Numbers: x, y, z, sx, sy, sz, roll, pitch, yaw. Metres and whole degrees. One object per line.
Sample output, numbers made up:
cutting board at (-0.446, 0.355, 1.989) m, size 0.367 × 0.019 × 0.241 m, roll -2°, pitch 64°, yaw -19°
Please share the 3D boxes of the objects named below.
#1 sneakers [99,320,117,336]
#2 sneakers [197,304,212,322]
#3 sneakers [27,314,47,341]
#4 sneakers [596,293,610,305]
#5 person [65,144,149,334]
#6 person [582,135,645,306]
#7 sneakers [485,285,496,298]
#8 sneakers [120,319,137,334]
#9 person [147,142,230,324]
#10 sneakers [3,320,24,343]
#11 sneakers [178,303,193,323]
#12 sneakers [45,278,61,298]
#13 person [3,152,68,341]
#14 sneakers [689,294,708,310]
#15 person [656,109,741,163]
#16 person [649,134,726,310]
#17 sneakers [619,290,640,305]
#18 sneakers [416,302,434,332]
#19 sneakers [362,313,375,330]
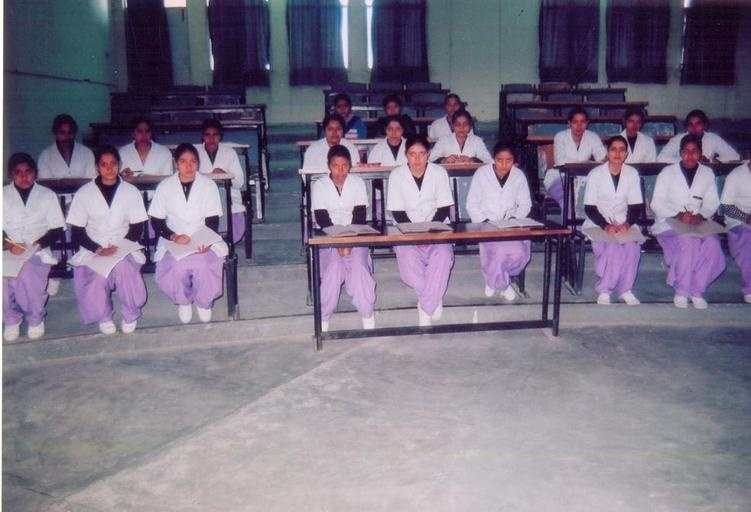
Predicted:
sneakers at (-2.182, 0.584, 5.624) m, size 0.075 × 0.072 × 0.202 m, roll -2°, pitch -4°, yaw -34°
sneakers at (-1.452, 0.490, 5.865) m, size 0.099 × 0.151 × 0.067 m, roll -14°, pitch 15°, yaw -24°
sneakers at (-2.773, 0.577, 5.631) m, size 0.139 × 0.156 × 0.294 m, roll -6°, pitch 11°, yaw -24°
sneakers at (2.025, 0.376, 6.084) m, size 0.113 × 0.094 × 0.140 m, roll 2°, pitch 10°, yaw 17°
person at (-2.214, -0.150, 5.727) m, size 0.639 × 1.512 × 0.675 m, roll -5°, pitch 12°, yaw -18°
person at (2.139, -0.343, 6.208) m, size 0.529 × 1.466 × 0.671 m, roll 3°, pitch 12°, yaw 19°
sneakers at (1.048, 0.320, 6.256) m, size 0.077 × 0.115 × 0.076 m, roll 0°, pitch 42°, yaw 11°
sneakers at (-2.024, 0.573, 5.660) m, size 0.125 × 0.095 × 0.163 m, roll -5°, pitch 10°, yaw -21°
person at (-1.578, -0.200, 5.860) m, size 0.610 × 1.506 × 0.693 m, roll -8°, pitch 13°, yaw -31°
sneakers at (-2.931, 0.609, 5.576) m, size 0.184 × 0.175 × 0.492 m, roll 2°, pitch -4°, yaw -30°
sneakers at (-1.608, 0.481, 5.858) m, size 0.102 × 0.161 × 0.203 m, roll -5°, pitch 11°, yaw -19°
sneakers at (-2.961, 0.279, 6.338) m, size 0.154 × 0.214 × 0.079 m, roll 7°, pitch -5°, yaw -35°
person at (-2.828, -0.095, 5.651) m, size 0.495 × 1.492 × 0.686 m, roll -5°, pitch 12°, yaw -16°
sneakers at (2.826, 0.398, 5.996) m, size 0.133 × 0.097 × 0.175 m, roll 3°, pitch 10°, yaw 22°
person at (3.514, -1.209, 7.391) m, size 0.879 × 0.545 × 0.507 m, roll 10°, pitch -2°, yaw 27°
person at (2.842, -0.341, 6.183) m, size 0.618 × 1.491 × 0.798 m, roll 0°, pitch 11°, yaw 8°
sneakers at (2.261, 0.372, 6.123) m, size 0.093 × 0.087 × 0.231 m, roll -1°, pitch 0°, yaw 1°
sneakers at (0.383, 0.481, 5.647) m, size 0.180 × 0.252 × 0.212 m, roll -2°, pitch -7°, yaw 2°
sneakers at (-0.053, 0.529, 5.577) m, size 0.127 × 0.088 × 0.138 m, roll -8°, pitch 25°, yaw 5°
